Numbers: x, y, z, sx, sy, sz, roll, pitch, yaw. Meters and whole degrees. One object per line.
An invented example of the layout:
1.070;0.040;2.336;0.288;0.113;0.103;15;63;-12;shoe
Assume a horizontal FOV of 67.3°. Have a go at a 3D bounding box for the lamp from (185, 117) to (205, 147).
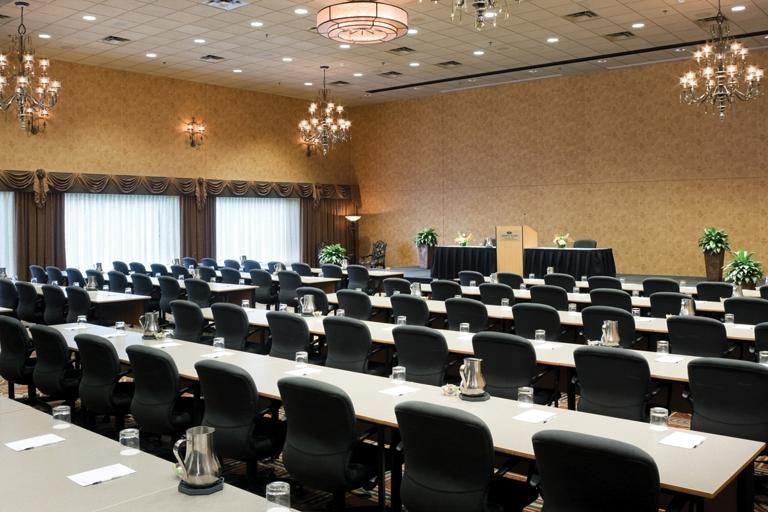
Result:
-5.659;-3.651;17.325;0.655;0.858;0.191;-2;3;-45;lamp
